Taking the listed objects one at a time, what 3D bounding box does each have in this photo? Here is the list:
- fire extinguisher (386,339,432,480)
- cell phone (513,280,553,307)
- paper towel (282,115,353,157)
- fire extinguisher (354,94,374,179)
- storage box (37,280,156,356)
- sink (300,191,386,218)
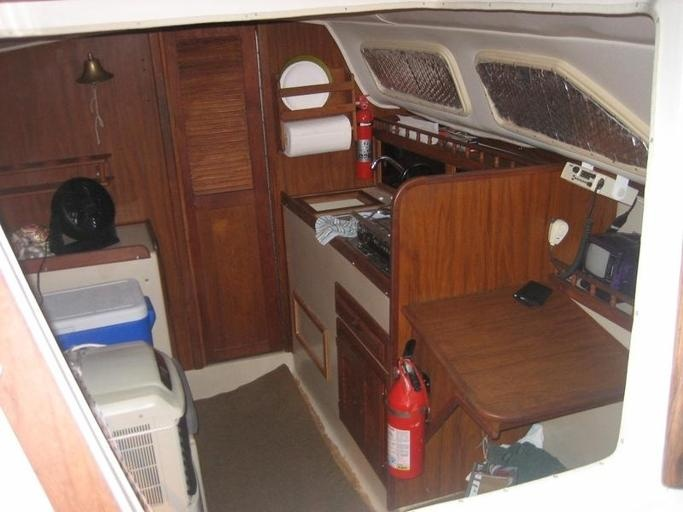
[{"bbox_3d":[0.225,0.582,2.055,0.158,0.520,0.156,-3,21,-15],"label":"fire extinguisher"},{"bbox_3d":[0.700,0.136,2.023,0.090,0.024,0.092,26,45,29],"label":"cell phone"},{"bbox_3d":[-0.131,-0.656,2.993,0.370,0.180,0.130,-14,27,-17],"label":"paper towel"},{"bbox_3d":[0.122,-0.653,3.020,0.094,0.431,0.124,-6,25,-3],"label":"fire extinguisher"},{"bbox_3d":[-0.959,0.327,2.343,0.388,0.275,0.221,-11,20,-3],"label":"storage box"},{"bbox_3d":[0.000,-0.281,3.004,0.250,0.083,0.317,-8,22,-22],"label":"sink"}]
